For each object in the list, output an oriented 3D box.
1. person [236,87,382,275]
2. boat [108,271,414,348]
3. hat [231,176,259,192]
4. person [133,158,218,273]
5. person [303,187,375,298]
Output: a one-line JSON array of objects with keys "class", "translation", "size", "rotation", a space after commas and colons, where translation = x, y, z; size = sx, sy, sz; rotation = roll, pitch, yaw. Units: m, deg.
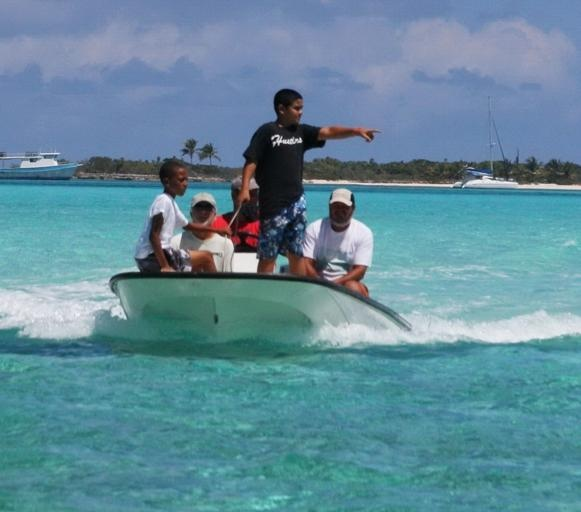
[{"class": "person", "translation": [0.018, -0.414, 5.541], "size": [0.839, 1.156, 0.404], "rotation": [0, 6, -11]}, {"class": "boat", "translation": [-0.285, 0.378, 5.638], "size": [2.109, 0.599, 0.859], "rotation": [0, 6, -14]}, {"class": "hat", "translation": [-0.371, -0.595, 6.101], "size": [0.285, 0.145, 0.450], "rotation": [0, -2, -4]}, {"class": "person", "translation": [-0.870, -0.294, 5.529], "size": [0.493, 0.861, 0.642], "rotation": [5, 7, 33]}, {"class": "person", "translation": [0.365, -0.019, 6.071], "size": [0.666, 1.053, 1.013], "rotation": [3, 13, 0]}]
